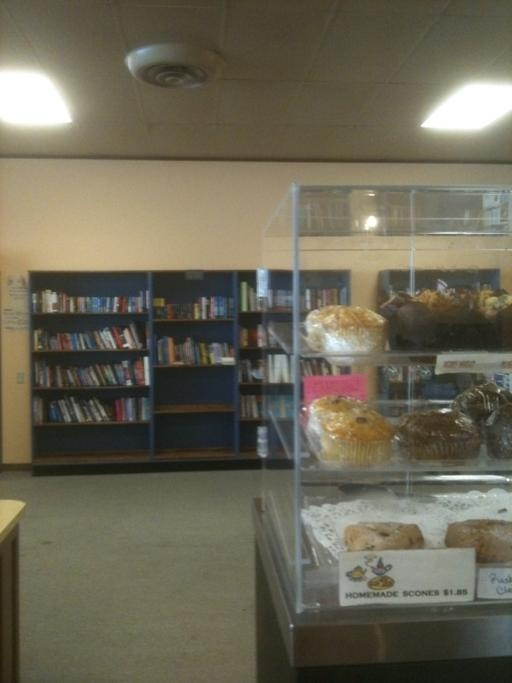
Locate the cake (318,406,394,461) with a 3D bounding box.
[{"bbox_3d":[0.189,0.173,1.296,0.114,0.059,0.104,-1,-1,0],"label":"cake"}]

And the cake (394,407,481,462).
[{"bbox_3d":[0.344,0.177,1.313,0.123,0.064,0.110,0,-6,2],"label":"cake"}]
